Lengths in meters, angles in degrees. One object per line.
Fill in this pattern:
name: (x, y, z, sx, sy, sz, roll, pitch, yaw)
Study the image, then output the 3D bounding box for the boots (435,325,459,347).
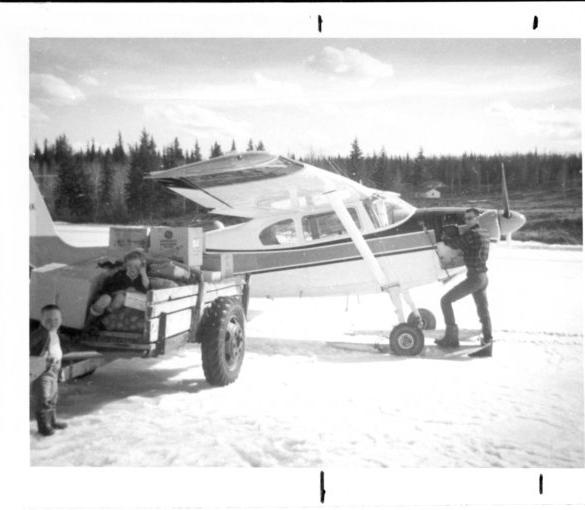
boots: (1.982, 1.051, 6.507, 0.352, 0.322, 0.156, 2, 1, 20)

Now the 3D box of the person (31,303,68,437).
person: (-2.211, 1.079, 4.589, 0.265, 1.277, 0.419, -4, 4, -26)

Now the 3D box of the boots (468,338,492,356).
boots: (2.333, 1.150, 6.292, 0.288, 0.215, 0.173, -1, 4, 16)

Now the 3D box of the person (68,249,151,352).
person: (-1.662, 0.395, 4.943, 0.374, 0.954, 0.459, 12, -18, -3)

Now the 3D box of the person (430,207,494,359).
person: (2.172, 0.329, 6.400, 0.663, 1.837, 0.453, -1, 4, 15)
